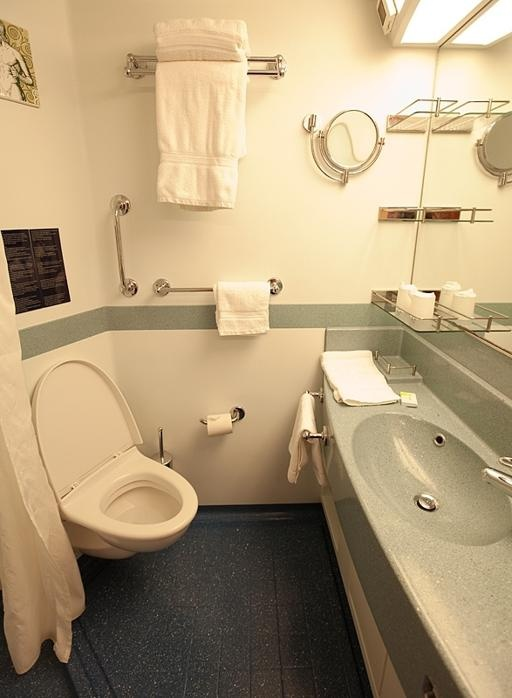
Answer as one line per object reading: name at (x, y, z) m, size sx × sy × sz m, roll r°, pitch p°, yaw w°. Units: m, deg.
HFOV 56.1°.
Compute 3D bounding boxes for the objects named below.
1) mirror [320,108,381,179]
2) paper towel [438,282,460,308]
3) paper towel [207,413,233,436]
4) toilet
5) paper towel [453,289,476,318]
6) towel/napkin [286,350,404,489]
mirror at (0.313, -0.693, 1.597) m, size 0.203 × 0.232 × 0.024 m, roll 1°, pitch 24°, yaw 0°
paper towel at (0.586, -0.161, 1.444) m, size 0.063 × 0.073 × 0.042 m, roll 25°, pitch 40°, yaw 34°
paper towel at (-0.147, 0.290, 1.903) m, size 0.100 × 0.073 × 0.097 m, roll -3°, pitch 21°, yaw -11°
toilet at (-0.450, 0.412, 1.553) m, size 0.535 × 0.674 × 0.377 m, roll 16°, pitch 23°, yaw 31°
paper towel at (0.589, -0.131, 1.390) m, size 0.064 × 0.079 × 0.066 m, roll -2°, pitch 27°, yaw -7°
towel/napkin at (0.273, 0.201, 1.738) m, size 0.318 × 0.172 × 0.500 m, roll -4°, pitch 32°, yaw 3°
